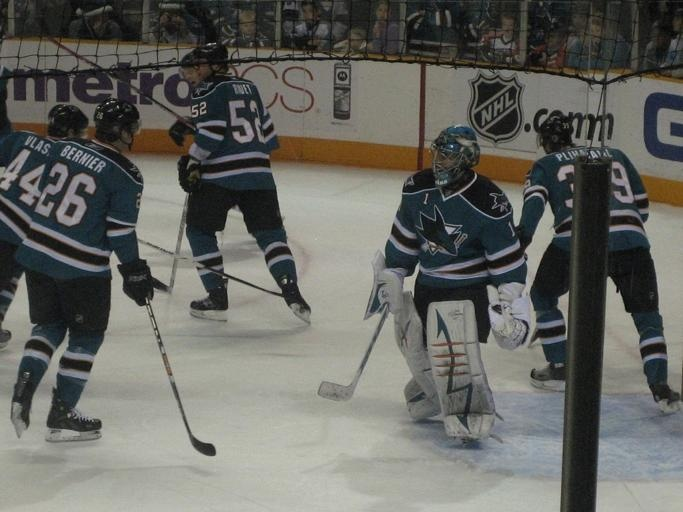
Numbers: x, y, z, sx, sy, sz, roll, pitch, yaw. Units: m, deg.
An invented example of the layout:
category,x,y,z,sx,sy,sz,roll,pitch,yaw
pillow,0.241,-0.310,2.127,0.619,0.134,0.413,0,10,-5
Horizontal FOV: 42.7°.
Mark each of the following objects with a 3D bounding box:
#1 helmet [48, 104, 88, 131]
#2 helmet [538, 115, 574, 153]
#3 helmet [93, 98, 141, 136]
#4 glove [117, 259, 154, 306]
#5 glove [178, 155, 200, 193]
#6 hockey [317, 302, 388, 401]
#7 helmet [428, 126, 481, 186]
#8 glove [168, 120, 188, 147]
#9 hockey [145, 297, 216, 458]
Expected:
category,x,y,z,sx,sy,sz,roll,pitch,yaw
helmet,-1.592,-0.819,5.228,0.245,0.105,0.132,-14,32,-23
helmet,1.245,-0.709,5.097,0.194,0.220,0.247,3,8,20
helmet,-1.152,-0.724,4.543,0.226,0.157,0.166,-15,25,-31
glove,-1.035,0.125,4.426,0.159,0.241,0.080,-20,33,-2
glove,-0.997,-0.565,5.911,0.184,0.221,0.091,1,5,31
hockey,0.056,0.531,4.695,0.360,0.560,0.234,0,8,-1
helmet,0.545,-0.490,4.398,0.335,0.289,0.254,-1,-2,-31
glove,-1.192,-0.919,6.556,0.168,0.191,0.083,-2,-21,30
hockey,-0.916,0.714,4.999,0.118,0.919,0.085,-10,-33,-40
